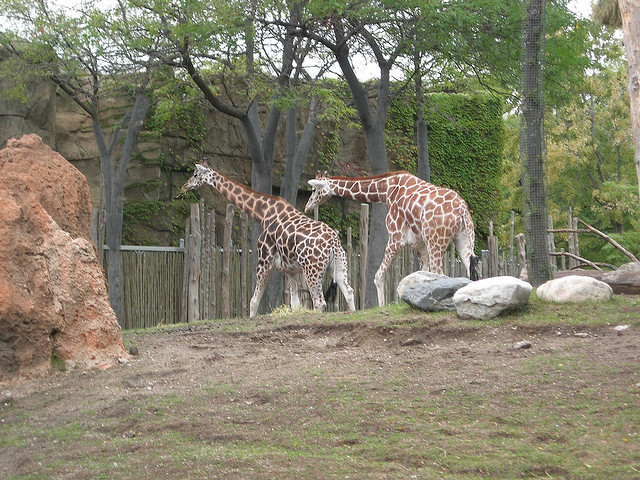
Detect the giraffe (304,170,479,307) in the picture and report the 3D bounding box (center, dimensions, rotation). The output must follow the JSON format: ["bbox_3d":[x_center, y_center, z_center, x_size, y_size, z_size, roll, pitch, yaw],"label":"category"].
[{"bbox_3d":[1.112,-0.005,14.729,2.859,2.313,0.810,1,0,17],"label":"giraffe"}]

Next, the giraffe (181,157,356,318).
[{"bbox_3d":[-0.904,0.013,15.774,3.426,2.699,0.969,4,7,32],"label":"giraffe"}]
